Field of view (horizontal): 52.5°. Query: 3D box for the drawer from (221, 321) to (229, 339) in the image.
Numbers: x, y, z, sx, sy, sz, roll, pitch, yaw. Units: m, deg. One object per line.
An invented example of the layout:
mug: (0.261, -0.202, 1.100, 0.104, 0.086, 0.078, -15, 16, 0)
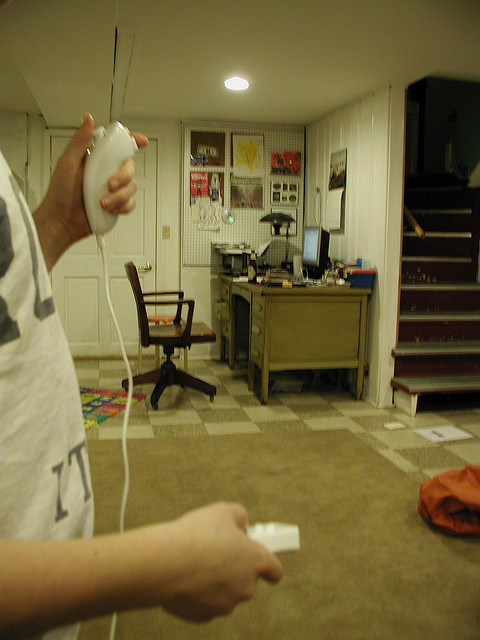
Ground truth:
drawer: (-0.146, 0.097, 4.648, 0.071, 0.148, 0.160, -1, 9, -6)

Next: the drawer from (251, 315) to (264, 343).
drawer: (0.124, 0.056, 3.539, 0.088, 0.178, 0.212, 0, 7, -5)

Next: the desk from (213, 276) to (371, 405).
desk: (0.326, 0.116, 4.228, 0.776, 1.072, 1.673, 4, 4, -19)

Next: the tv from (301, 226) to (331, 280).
tv: (0.638, -0.567, 4.155, 0.098, 0.466, 0.356, 2, 6, -15)

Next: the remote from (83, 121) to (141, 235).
remote: (-0.153, -0.139, 0.574, 0.056, 0.157, 0.032, 12, -12, -41)

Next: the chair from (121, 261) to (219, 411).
chair: (-0.537, 0.068, 3.667, 0.519, 1.047, 0.623, 1, 9, 4)

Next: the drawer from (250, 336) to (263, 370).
drawer: (0.117, 0.236, 3.593, 0.106, 0.184, 0.240, 1, 7, -3)

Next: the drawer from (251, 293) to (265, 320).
drawer: (0.125, -0.096, 3.534, 0.087, 0.163, 0.197, 0, 7, -5)

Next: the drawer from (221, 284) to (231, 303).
drawer: (-0.142, -0.254, 4.600, 0.086, 0.246, 0.207, 1, 4, -4)
